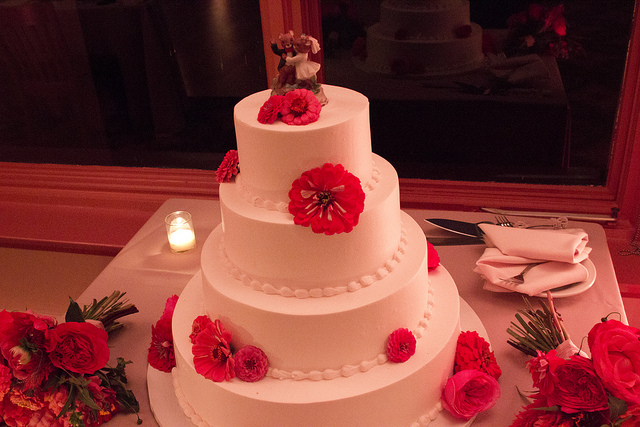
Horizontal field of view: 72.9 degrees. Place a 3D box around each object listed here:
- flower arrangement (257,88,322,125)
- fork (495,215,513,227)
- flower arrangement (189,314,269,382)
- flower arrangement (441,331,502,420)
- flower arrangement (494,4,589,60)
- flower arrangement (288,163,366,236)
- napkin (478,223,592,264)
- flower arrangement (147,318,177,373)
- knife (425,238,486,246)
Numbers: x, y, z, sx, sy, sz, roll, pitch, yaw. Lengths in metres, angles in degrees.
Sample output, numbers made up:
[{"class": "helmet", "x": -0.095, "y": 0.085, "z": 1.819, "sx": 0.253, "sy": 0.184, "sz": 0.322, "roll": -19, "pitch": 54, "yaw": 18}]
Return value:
[{"class": "flower arrangement", "x": -0.132, "y": -0.422, "z": 1.768, "sx": 0.250, "sy": 0.077, "sz": 0.160, "roll": 0, "pitch": 61, "yaw": 2}, {"class": "fork", "x": 1.205, "y": 0.054, "z": 2.832, "sx": 0.041, "sy": 0.011, "sz": 0.073, "roll": -23, "pitch": 43, "yaw": -2}, {"class": "flower arrangement", "x": -0.385, "y": 0.592, "z": 1.828, "sx": 0.386, "sy": 0.244, "sz": 0.118, "roll": 6, "pitch": -10, "yaw": 31}, {"class": "flower arrangement", "x": 0.662, "y": 0.718, "z": 1.982, "sx": 0.302, "sy": 0.326, "sz": 0.136, "roll": 5, "pitch": -6, "yaw": -38}, {"class": "flower arrangement", "x": 1.547, "y": -1.252, "z": 3.007, "sx": 0.406, "sy": 0.188, "sz": 0.408, "roll": -18, "pitch": 45, "yaw": -7}, {"class": "flower arrangement", "x": 0.025, "y": -0.052, "z": 1.677, "sx": 0.287, "sy": 0.209, "sz": 0.167, "roll": 0, "pitch": 34, "yaw": 4}, {"class": "napkin", "x": 1.246, "y": 0.170, "z": 2.462, "sx": 0.340, "sy": 0.091, "sz": 0.291, "roll": 0, "pitch": 28, "yaw": 21}, {"class": "flower arrangement", "x": -0.744, "y": 0.645, "z": 2.130, "sx": 0.210, "sy": 0.217, "sz": 0.082, "roll": -2, "pitch": -4, "yaw": 23}, {"class": "knife", "x": 0.874, "y": 0.184, "z": 2.752, "sx": 0.307, "sy": 0.026, "sz": 0.045, "roll": 6, "pitch": 74, "yaw": 4}]
